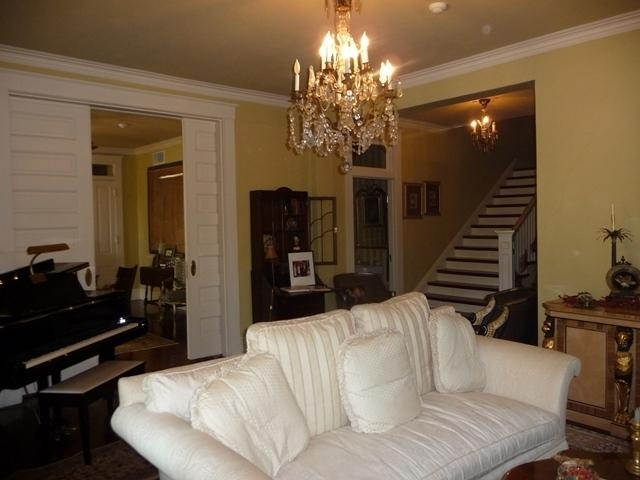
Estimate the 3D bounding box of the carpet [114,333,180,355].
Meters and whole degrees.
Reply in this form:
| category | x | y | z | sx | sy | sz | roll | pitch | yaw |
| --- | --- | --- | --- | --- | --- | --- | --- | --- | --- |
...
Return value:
| category | x | y | z | sx | sy | sz | roll | pitch | yaw |
| --- | --- | --- | --- | --- | --- | --- | --- | --- | --- |
| carpet | -2.216 | 1.346 | 6.187 | 0.485 | 0.006 | 0.456 | 7 | 8 | 31 |

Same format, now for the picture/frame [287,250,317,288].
| category | x | y | z | sx | sy | sz | roll | pitch | yaw |
| --- | --- | --- | --- | --- | --- | --- | --- | --- | --- |
| picture/frame | -0.236 | 0.380 | 6.246 | 0.424 | 0.555 | 0.036 | 3 | -18 | -29 |

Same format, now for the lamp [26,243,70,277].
| category | x | y | z | sx | sy | sz | roll | pitch | yaw |
| --- | --- | --- | --- | --- | --- | --- | --- | --- | --- |
| lamp | -2.600 | 0.183 | 4.589 | 0.090 | 0.319 | 0.288 | 0 | 0 | 37 |

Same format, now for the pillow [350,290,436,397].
| category | x | y | z | sx | sy | sz | roll | pitch | yaw |
| --- | --- | --- | --- | --- | --- | --- | --- | --- | --- |
| pillow | 0.550 | 0.785 | 3.532 | 0.588 | 0.623 | 0.205 | -9 | 0 | -40 |

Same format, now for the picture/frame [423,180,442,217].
| category | x | y | z | sx | sy | sz | roll | pitch | yaw |
| --- | --- | --- | --- | --- | --- | --- | --- | --- | --- |
| picture/frame | 1.967 | -0.755 | 8.469 | 0.589 | 0.799 | 0.074 | -2 | 2 | -43 |

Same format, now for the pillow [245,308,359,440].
| category | x | y | z | sx | sy | sz | roll | pitch | yaw |
| --- | --- | --- | --- | --- | --- | --- | --- | --- | --- |
| pillow | -0.104 | 0.911 | 3.169 | 0.653 | 0.673 | 0.239 | 1 | -24 | -45 |

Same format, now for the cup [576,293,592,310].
| category | x | y | z | sx | sy | sz | roll | pitch | yaw |
| --- | --- | --- | --- | --- | --- | --- | --- | --- | --- |
| cup | 2.393 | 0.542 | 4.358 | 0.090 | 0.127 | 0.133 | 4 | 19 | 36 |

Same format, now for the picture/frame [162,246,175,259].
| category | x | y | z | sx | sy | sz | roll | pitch | yaw |
| --- | --- | --- | --- | --- | --- | --- | --- | --- | --- |
| picture/frame | -2.859 | 0.217 | 9.176 | 0.213 | 0.225 | 0.056 | 6 | -11 | 32 |

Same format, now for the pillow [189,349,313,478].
| category | x | y | z | sx | sy | sz | roll | pitch | yaw |
| --- | --- | --- | --- | --- | --- | --- | --- | --- | --- |
| pillow | -0.421 | 1.090 | 2.904 | 0.178 | 0.637 | 0.611 | -29 | 0 | 37 |

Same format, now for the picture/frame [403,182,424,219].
| category | x | y | z | sx | sy | sz | roll | pitch | yaw |
| --- | --- | --- | --- | --- | --- | --- | --- | --- | --- |
| picture/frame | 1.577 | -0.693 | 8.168 | 0.561 | 0.658 | 0.065 | -3 | 3 | -45 |

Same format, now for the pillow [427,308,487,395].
| category | x | y | z | sx | sy | sz | roll | pitch | yaw |
| --- | --- | --- | --- | --- | --- | --- | --- | --- | --- |
| pillow | 1.061 | 0.894 | 3.776 | 0.489 | 0.534 | 0.250 | 12 | -17 | -43 |
